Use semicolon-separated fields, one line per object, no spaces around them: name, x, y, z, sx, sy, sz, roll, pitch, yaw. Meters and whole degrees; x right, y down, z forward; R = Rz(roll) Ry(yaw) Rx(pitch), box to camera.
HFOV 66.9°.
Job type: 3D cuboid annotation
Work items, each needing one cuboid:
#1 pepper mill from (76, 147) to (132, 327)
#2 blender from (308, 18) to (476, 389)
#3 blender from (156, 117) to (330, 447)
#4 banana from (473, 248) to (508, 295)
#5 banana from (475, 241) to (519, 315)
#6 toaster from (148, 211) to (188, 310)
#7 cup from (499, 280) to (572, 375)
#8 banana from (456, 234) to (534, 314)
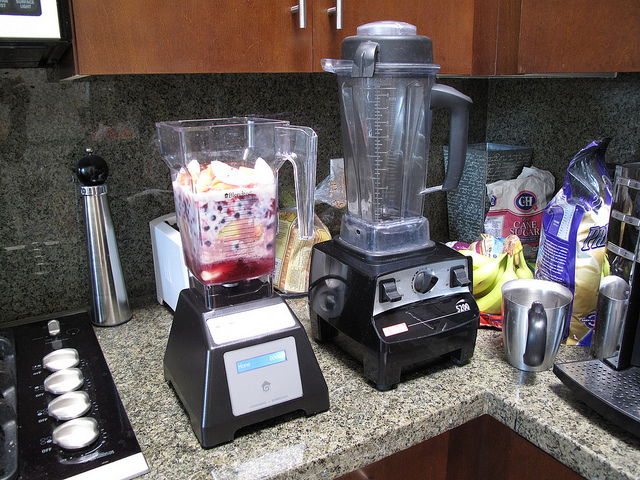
pepper mill;-0.523;-0.013;1.150;0.101;0.409;0.094;-9;8;-39
blender;0.177;0.024;1.044;0.283;0.876;0.291;-6;24;-31
blender;-0.155;0.054;0.906;0.339;0.522;0.303;-7;20;-11
banana;0.406;0.086;1.184;0.055;0.043;0.145;31;70;26
banana;0.493;0.085;1.292;0.086;0.165;0.252;24;16;19
toaster;-0.361;0.044;1.145;0.110;0.205;0.188;-6;23;-19
cup;0.422;0.186;1.026;0.126;0.168;0.196;3;22;17
banana;0.492;0.079;1.248;0.123;0.136;0.227;1;10;19
